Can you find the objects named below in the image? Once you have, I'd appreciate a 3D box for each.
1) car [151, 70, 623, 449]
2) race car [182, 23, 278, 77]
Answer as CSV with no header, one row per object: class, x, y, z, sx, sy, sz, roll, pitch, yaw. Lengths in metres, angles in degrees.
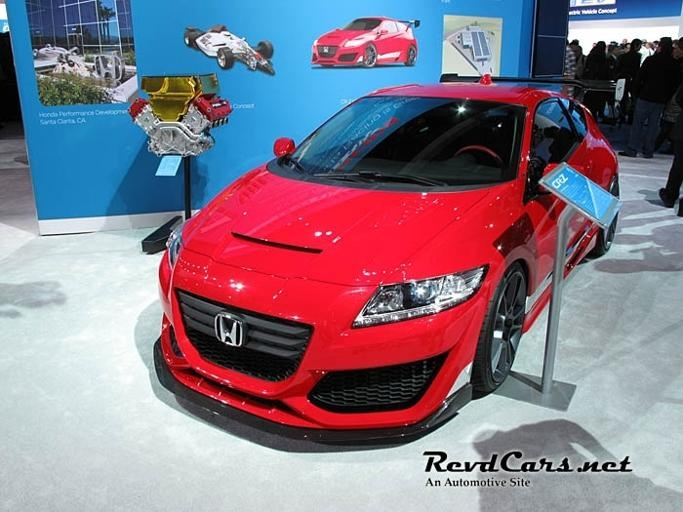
car,0.616,-0.539,3.188,2.258,1.223,3.982,14,33,32
race car,-1.357,-2.538,5.076,1.045,0.538,0.139,-5,23,-14
